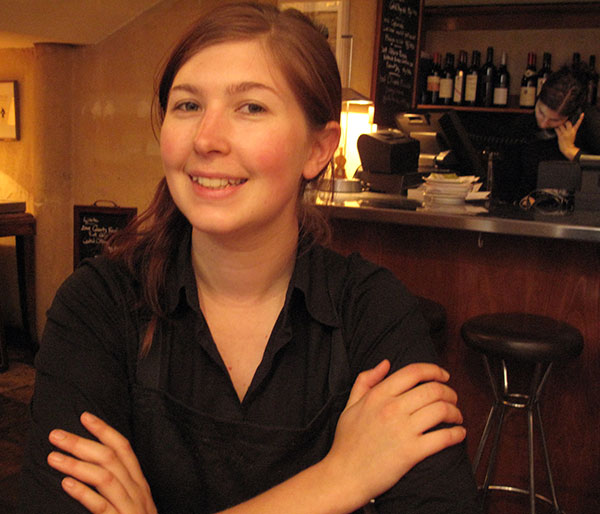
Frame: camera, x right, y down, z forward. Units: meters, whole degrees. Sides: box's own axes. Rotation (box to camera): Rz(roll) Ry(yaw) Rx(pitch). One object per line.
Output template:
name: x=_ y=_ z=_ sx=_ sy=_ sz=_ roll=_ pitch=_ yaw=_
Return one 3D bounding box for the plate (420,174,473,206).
plate: x=0.721 y=-0.323 z=2.698 sx=0.182 sy=0.112 sz=0.233 roll=0 pitch=7 yaw=0

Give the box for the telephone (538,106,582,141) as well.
telephone: x=1.753 y=-0.908 z=3.556 sx=0.138 sy=0.150 sz=0.241 roll=20 pitch=-9 yaw=47
